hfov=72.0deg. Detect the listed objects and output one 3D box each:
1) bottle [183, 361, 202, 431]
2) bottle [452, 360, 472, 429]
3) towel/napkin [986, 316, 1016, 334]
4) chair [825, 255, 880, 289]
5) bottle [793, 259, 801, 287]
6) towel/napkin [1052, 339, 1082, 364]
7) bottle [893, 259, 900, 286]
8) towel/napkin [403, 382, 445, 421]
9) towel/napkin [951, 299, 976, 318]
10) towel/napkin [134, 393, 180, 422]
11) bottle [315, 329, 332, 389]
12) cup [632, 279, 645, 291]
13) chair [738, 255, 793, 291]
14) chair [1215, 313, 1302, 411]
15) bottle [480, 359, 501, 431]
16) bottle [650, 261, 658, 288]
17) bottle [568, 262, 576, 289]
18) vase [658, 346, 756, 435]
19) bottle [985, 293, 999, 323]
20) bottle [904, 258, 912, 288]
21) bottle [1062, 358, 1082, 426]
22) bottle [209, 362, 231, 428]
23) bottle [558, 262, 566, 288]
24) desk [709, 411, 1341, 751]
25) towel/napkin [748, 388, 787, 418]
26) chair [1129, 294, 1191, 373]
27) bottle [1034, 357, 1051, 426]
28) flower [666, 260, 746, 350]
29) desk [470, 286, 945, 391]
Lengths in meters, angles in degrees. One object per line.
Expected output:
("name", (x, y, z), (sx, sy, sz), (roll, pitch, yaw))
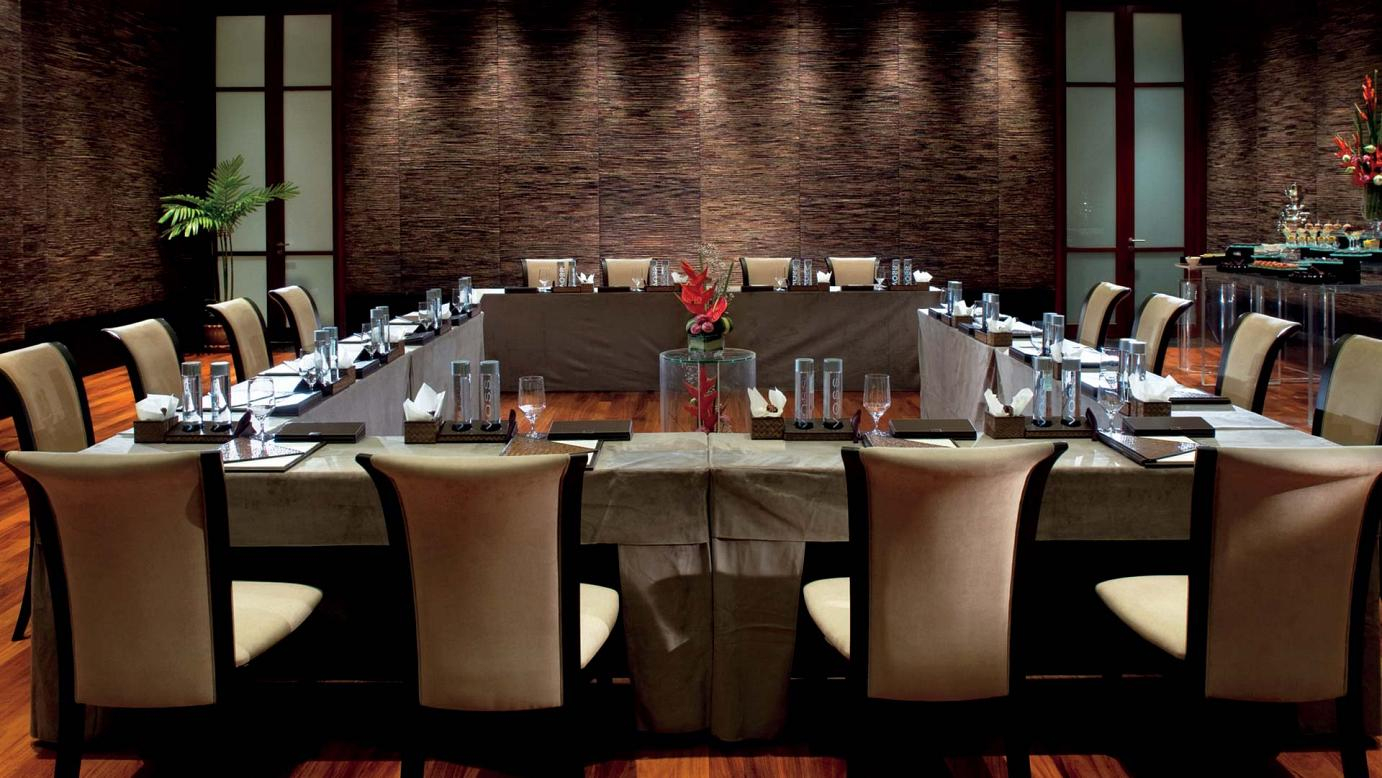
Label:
("bottle", (-2.081, 0.023, 3.961), (0.069, 0.264, 0.114), (-5, 11, -29))
("bottle", (-0.957, 0.018, 3.996), (0.090, 0.278, 0.233), (-2, 9, -13))
("towel/napkin", (1.988, -0.413, 6.119), (0.194, 0.097, 0.180), (1, 2, 12))
("chair", (1.444, -1.059, 8.629), (0.488, 0.236, 0.346), (1, -1, 3))
("bottle", (0.891, -0.982, 8.102), (0.091, 0.214, 0.229), (2, 9, 7))
("towel/napkin", (2.091, -0.226, 5.310), (0.154, 0.083, 0.593), (4, 8, 22))
("bottle", (1.731, -0.972, 8.027), (0.059, 0.213, 0.060), (0, 10, 0))
("towel/napkin", (-1.116, 0.063, 3.997), (0.176, 0.077, 0.189), (-4, 26, -2))
("towel/napkin", (1.910, -0.557, 6.677), (0.197, 0.074, 0.239), (0, 1, 11))
("towel/napkin", (-2.232, 0.079, 3.980), (0.128, 0.061, 0.145), (-1, 3, -20))
("bottle", (-1.818, -0.154, 4.691), (0.075, 0.269, 0.152), (-3, 10, -20))
("cup", (-0.438, -0.873, 8.023), (0.110, 0.086, 0.100), (0, 4, 0))
("chair", (0.658, -1.040, 8.497), (0.500, 0.438, 0.382), (0, -5, 1))
("chair", (2.794, -0.142, 4.782), (0.334, 0.444, 0.444), (9, 13, 43))
("bottle", (-0.837, 0.023, 3.947), (0.069, 0.278, 0.102), (-3, 11, -20))
("bottle", (-0.320, -0.969, 8.050), (0.081, 0.202, 0.120), (0, 10, -1))
("bottle", (-1.011, -0.970, 8.058), (0.067, 0.203, 0.094), (-1, 10, -5))
("vase", (0.120, 0.013, 5.410), (0.607, 0.542, 0.538), (-1, 7, -10))
("bottle", (1.899, -0.515, 6.046), (0.075, 0.172, 0.098), (5, 10, 24))
("bottle", (1.831, -0.978, 8.074), (0.087, 0.213, 0.198), (3, 9, 13))
("bottle", (1.579, 0.016, 4.010), (0.107, 0.292, 0.090), (0, 2, 1))
("bottle", (-1.959, 0.009, 3.945), (0.074, 0.243, 0.091), (-5, 11, -27))
("bottle", (-1.090, -0.962, 8.041), (0.099, 0.192, 0.068), (0, 10, 1))
("desk", (1.157, 0.721, 3.335), (1.611, 0.654, 0.466), (0, 1, 0))
("towel/napkin", (0.306, 0.058, 3.978), (0.136, 0.111, 0.146), (1, -9, -18))
("chair", (2.823, -0.334, 5.758), (0.268, 0.455, 0.608), (4, 9, 22))
("bottle", (1.458, 0.016, 3.965), (0.101, 0.288, 0.075), (-1, 1, 10))
("flower", (0.075, -0.440, 5.520), (0.379, 0.535, 0.384), (-1, 13, -9))
("desk", (0.027, -0.363, 8.270), (4.142, 0.788, 0.522), (1, -14, 22))
